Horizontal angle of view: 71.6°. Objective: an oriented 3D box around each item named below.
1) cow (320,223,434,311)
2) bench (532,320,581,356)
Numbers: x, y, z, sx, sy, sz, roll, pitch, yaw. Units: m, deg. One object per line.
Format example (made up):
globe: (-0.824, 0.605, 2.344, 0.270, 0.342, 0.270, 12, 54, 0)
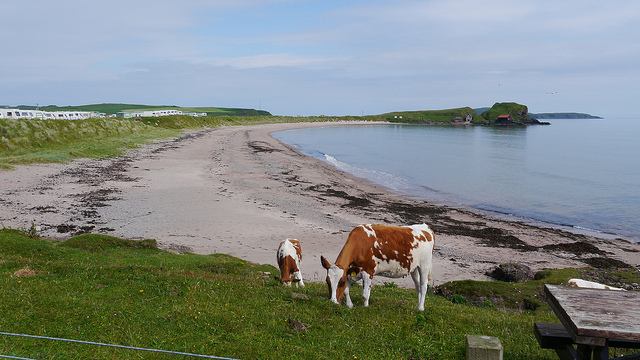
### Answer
cow: (2.604, 5.134, 27.750, 7.275, 4.861, 5.989, -4, 8, -40)
bench: (10.848, 7.164, 20.581, 2.012, 1.755, 1.541, 1, -1, 15)
